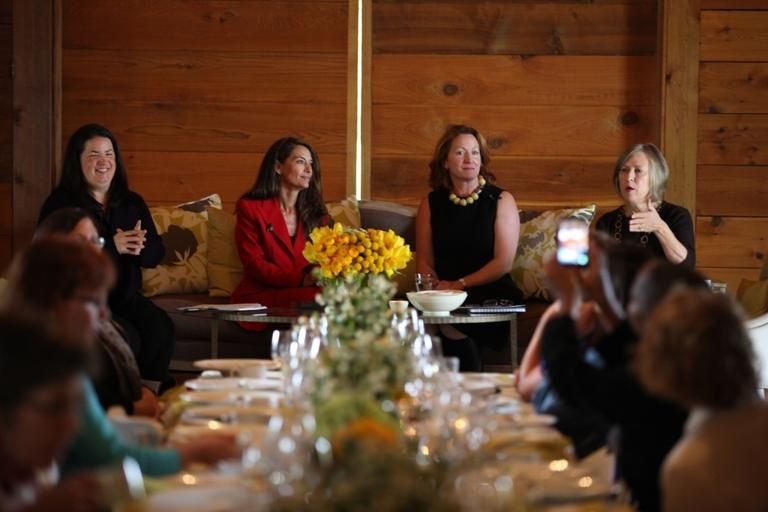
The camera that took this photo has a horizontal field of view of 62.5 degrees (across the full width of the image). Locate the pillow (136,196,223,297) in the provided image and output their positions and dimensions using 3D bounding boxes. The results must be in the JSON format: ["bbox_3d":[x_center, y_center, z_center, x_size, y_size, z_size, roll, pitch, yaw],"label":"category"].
[{"bbox_3d":[-1.118,-0.031,3.472,0.475,0.527,0.212,-11,-17,-7],"label":"pillow"}]

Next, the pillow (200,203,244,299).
[{"bbox_3d":[-0.943,-0.119,3.730,0.124,0.495,0.495,-10,-30,1],"label":"pillow"}]

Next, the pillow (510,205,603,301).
[{"bbox_3d":[0.989,0.023,3.611,0.574,0.550,0.178,-20,-30,41],"label":"pillow"}]

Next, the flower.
[{"bbox_3d":[-0.118,0.064,2.546,0.403,0.367,0.395,16,15,25],"label":"flower"}]

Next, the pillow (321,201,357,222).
[{"bbox_3d":[-0.235,-0.259,3.688,0.154,0.123,0.049,-2,-4,-6],"label":"pillow"}]

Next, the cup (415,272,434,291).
[{"bbox_3d":[0.172,0.108,2.773,0.075,0.081,0.076,1,-5,0],"label":"cup"}]

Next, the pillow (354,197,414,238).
[{"bbox_3d":[0.012,-0.228,3.772,0.261,0.292,0.236,1,2,-12],"label":"pillow"}]

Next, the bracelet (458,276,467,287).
[{"bbox_3d":[0.392,0.134,3.156,0.035,0.050,0.051,-29,44,-32],"label":"bracelet"}]

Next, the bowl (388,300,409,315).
[{"bbox_3d":[0.046,0.181,2.280,0.074,0.054,0.067,-2,-1,-9],"label":"bowl"}]
